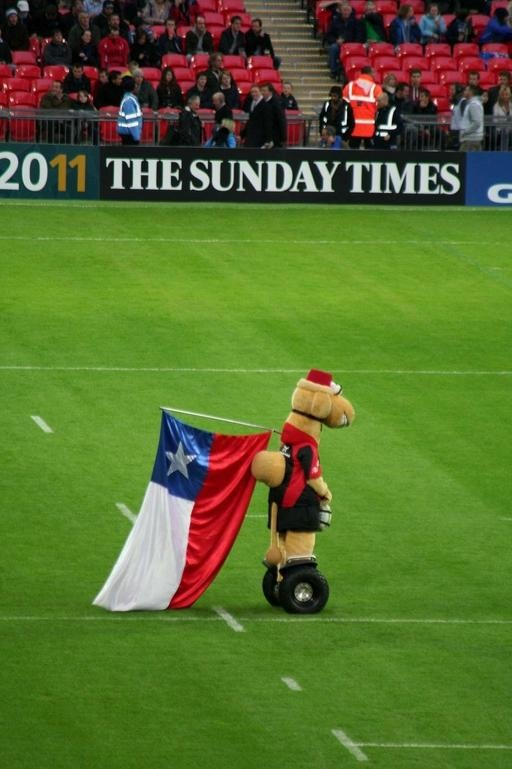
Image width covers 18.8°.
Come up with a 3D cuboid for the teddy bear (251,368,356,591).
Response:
[{"bbox_3d":[0.280,0.588,10.027,0.478,1.283,0.598,12,15,29],"label":"teddy bear"}]

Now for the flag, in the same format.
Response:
[{"bbox_3d":[-0.529,0.942,10.796,0.979,1.360,0.138,11,-12,-13],"label":"flag"}]
